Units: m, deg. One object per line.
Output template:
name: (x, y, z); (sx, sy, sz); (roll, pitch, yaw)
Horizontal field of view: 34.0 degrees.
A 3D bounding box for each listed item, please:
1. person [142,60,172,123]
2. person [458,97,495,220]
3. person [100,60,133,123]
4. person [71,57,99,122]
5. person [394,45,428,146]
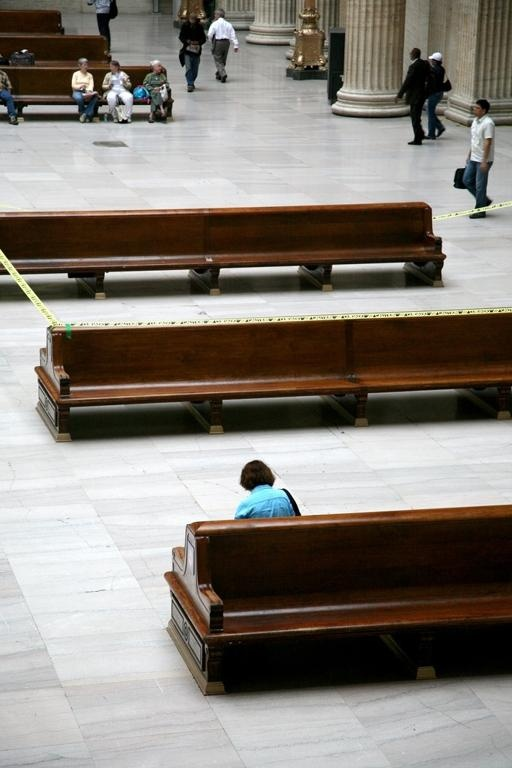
person: (-2.408, -7.123, 20.498); (0.617, 1.389, 0.911); (-4, 19, -8)
person: (3.553, -3.532, 13.272); (0.458, 1.847, 1.347); (3, 19, 15)
person: (-3.399, -7.103, 20.473); (0.747, 1.380, 1.065); (-4, 19, -7)
person: (-4.180, -7.104, 20.374); (0.634, 1.433, 1.106); (-5, 19, -10)
person: (3.513, -6.314, 18.498); (0.634, 2.038, 1.375); (2, 19, 11)
